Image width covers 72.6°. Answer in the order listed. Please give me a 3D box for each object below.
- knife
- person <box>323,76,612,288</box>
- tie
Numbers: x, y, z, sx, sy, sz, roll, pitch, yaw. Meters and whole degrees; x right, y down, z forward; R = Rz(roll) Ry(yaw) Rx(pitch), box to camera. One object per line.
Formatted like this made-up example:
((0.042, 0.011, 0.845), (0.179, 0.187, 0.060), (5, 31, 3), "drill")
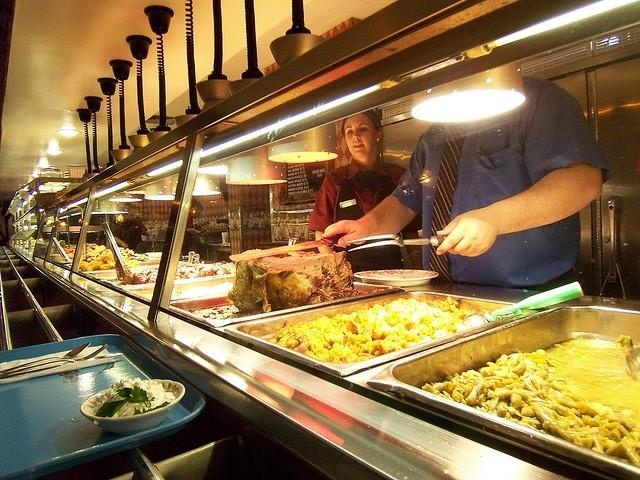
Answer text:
((-0.142, 0.045, 1.732), (0.411, 0.129, 0.032), (-6, -2, -19), "knife")
((0.618, -0.215, 1.982), (0.970, 0.800, 1.215), (-10, 7, -30), "person")
((0.611, -0.143, 2.196), (0.164, 0.764, 0.139), (11, 4, 16), "tie")
